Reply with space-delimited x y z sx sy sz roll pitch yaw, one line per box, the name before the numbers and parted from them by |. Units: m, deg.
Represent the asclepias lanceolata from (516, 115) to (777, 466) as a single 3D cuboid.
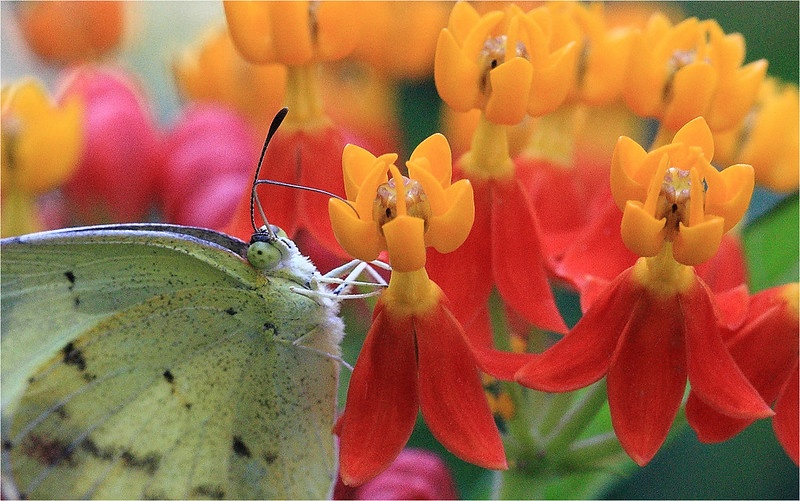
asclepias lanceolata | 0.242 0.048 0.870 0.247 0.303 0.189 -8 34 -10
